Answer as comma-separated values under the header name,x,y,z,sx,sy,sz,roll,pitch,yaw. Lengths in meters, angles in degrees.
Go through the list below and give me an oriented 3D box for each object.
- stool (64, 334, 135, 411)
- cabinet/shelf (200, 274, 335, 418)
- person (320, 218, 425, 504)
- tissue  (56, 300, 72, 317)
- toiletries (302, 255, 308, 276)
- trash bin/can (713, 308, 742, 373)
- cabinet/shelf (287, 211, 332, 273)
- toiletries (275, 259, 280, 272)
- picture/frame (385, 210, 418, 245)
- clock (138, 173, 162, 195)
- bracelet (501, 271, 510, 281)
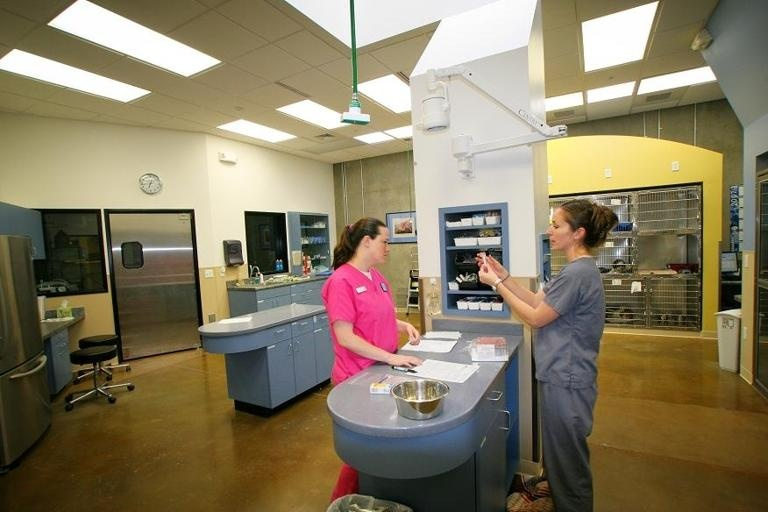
name,x,y,z,sx,sy,sz,roll,pitch,yaw
stool,-4.279,1.672,7.732,0.914,0.879,1.007,-1,0,2
cabinet/shelf,-1.693,1.318,7.389,0.696,0.876,1.836,-3,4,21
person,-0.112,1.137,5.553,1.105,2.901,1.062,10,12,33
tissue ,-4.809,0.823,7.975,0.236,0.311,0.103,-2,-9,2
toiletries,-1.672,0.194,11.236,0.108,0.392,0.318,-3,3,-7
trash bin/can,4.850,1.194,7.394,0.265,0.868,0.174,-1,4,34
cabinet/shelf,-1.637,-0.279,11.319,0.366,1.393,1.291,-1,3,27
toiletries,-2.150,0.193,10.743,0.127,0.263,0.071,-4,4,-11
picture/frame,0.394,-0.576,10.769,0.925,0.786,0.098,-1,-1,33
clock,-3.960,-1.219,8.935,0.367,0.354,0.075,-6,4,-39
bracelet,1.300,0.221,5.633,0.087,0.082,0.084,0,-3,21
